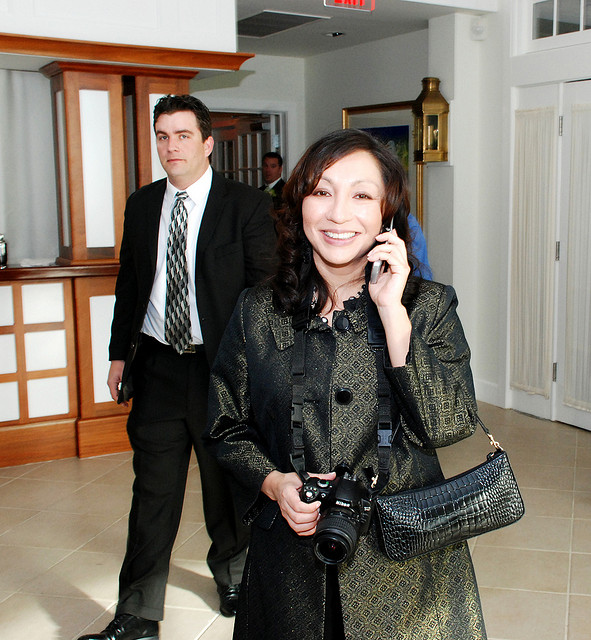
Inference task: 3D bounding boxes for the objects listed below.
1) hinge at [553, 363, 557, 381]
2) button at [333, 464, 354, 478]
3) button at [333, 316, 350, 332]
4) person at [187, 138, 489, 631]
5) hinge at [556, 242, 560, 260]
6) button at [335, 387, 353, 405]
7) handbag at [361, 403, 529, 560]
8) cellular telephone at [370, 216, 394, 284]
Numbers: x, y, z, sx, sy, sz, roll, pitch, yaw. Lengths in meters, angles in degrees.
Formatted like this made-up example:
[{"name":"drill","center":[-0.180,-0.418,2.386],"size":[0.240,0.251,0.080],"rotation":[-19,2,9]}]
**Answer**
[{"name":"hinge","center":[2.141,0.424,4.803],"size":[0.024,0.146,0.024],"rotation":[0,14,21]},{"name":"button","center":[0.068,0.219,0.849],"size":[0.014,0.013,0.035],"rotation":[-3,0,11]},{"name":"button","center":[0.076,0.005,0.945],"size":[0.027,0.022,0.007],"rotation":[-4,1,14]},{"name":"person","center":[0.072,0.127,0.954],"size":[0.402,0.829,0.438],"rotation":[-11,14,-24]},{"name":"hinge","center":[2.102,-0.554,4.659],"size":[0.024,0.134,0.018],"rotation":[0,14,21]},{"name":"button","center":[0.075,0.118,0.906],"size":[0.027,0.025,0.015],"rotation":[-3,12,5]},{"name":"handbag","center":[0.252,0.241,0.860],"size":[0.083,0.198,0.189],"rotation":[22,43,-28]},{"name":"cellular telephone","center":[0.129,-0.103,0.878],"size":[0.018,0.120,0.035],"rotation":[15,-17,13]}]
